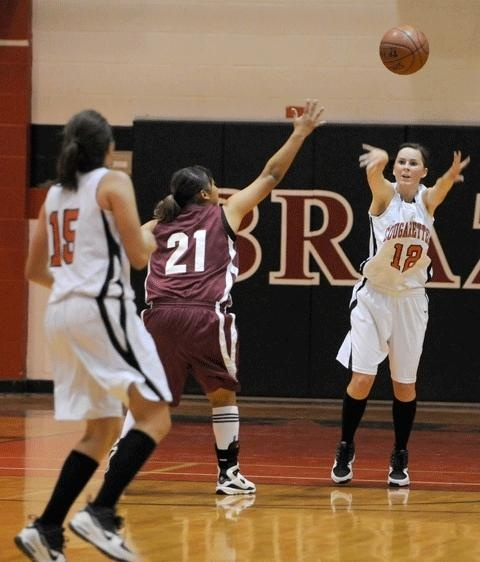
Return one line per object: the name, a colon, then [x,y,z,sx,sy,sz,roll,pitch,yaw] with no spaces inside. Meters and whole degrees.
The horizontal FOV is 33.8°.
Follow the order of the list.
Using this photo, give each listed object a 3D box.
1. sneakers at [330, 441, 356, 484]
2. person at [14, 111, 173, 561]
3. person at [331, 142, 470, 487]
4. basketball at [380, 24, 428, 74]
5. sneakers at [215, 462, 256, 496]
sneakers: [0.452,0.814,3.545,0.071,0.097,0.219,0,13,9]
person: [-0.423,0.173,2.372,0.428,1.412,0.509,1,-1,-11]
person: [0.685,0.169,3.512,0.526,1.499,0.411,1,-1,-3]
basketball: [0.864,-1.239,4.198,0.243,0.272,0.181,1,-1,10]
sneakers: [-0.029,0.850,3.371,0.201,0.142,0.079,3,-8,-14]
